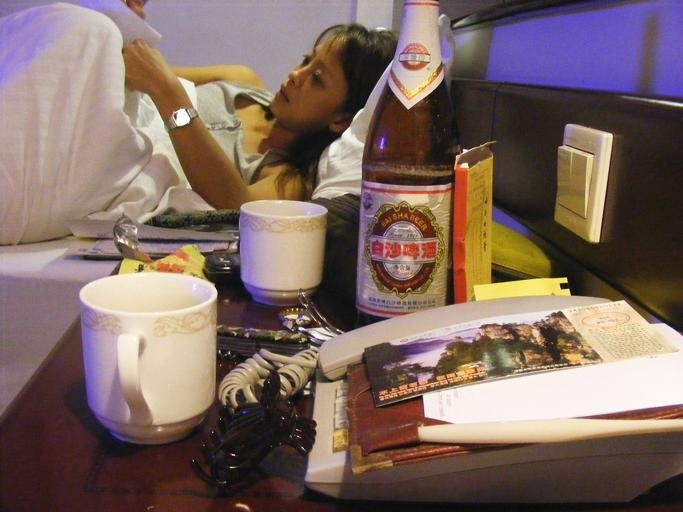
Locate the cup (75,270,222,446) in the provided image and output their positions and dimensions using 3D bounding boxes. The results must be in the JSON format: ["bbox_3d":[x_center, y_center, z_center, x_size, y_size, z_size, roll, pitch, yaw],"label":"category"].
[{"bbox_3d":[-0.142,0.080,0.484,0.101,0.113,0.155,3,20,-3],"label":"cup"}]

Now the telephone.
[{"bbox_3d":[0.110,0.112,0.420,0.223,0.072,0.161,3,24,0],"label":"telephone"}]

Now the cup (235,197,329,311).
[{"bbox_3d":[-0.061,-0.008,0.737,0.134,0.136,0.132,2,10,0],"label":"cup"}]

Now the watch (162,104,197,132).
[{"bbox_3d":[-0.442,-0.370,1.490,0.086,0.056,0.088,-7,-11,-41],"label":"watch"}]
